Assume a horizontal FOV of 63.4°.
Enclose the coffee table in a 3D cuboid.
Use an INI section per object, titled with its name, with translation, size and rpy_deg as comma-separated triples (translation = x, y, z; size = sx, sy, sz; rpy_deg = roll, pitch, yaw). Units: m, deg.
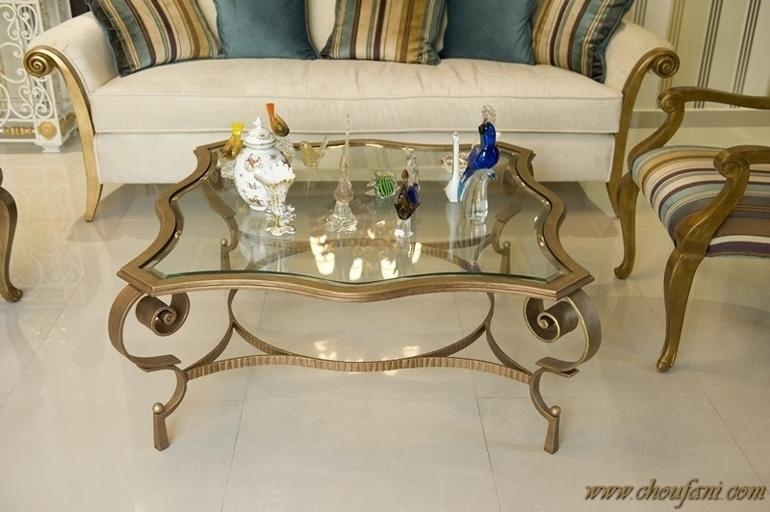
[coffee table]
translation = -0.083, 0.133, 2.508
size = 1.650, 0.840, 0.962
rpy_deg = -2, 30, 1
